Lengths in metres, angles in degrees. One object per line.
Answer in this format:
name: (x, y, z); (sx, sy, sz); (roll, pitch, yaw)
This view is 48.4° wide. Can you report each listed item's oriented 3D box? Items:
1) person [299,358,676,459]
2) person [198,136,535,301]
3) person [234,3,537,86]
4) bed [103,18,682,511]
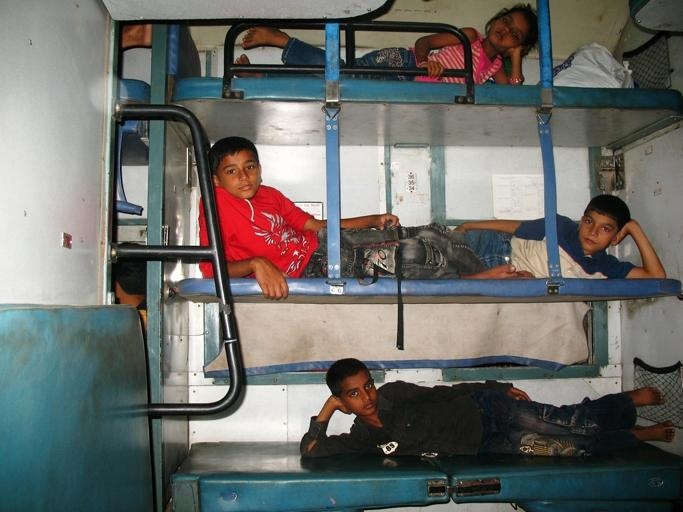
person: (0.867, 0.914, 4.581); (2.195, 0.648, 0.673); (-4, -8, 5)
person: (0.036, -0.188, 4.322); (1.611, 0.765, 0.924); (-2, 2, -9)
person: (0.268, -1.200, 4.300); (1.795, 0.516, 0.550); (-2, -21, 1)
bed: (0.249, 0.095, 4.305); (3.160, 2.973, 1.024); (0, 4, -1)
